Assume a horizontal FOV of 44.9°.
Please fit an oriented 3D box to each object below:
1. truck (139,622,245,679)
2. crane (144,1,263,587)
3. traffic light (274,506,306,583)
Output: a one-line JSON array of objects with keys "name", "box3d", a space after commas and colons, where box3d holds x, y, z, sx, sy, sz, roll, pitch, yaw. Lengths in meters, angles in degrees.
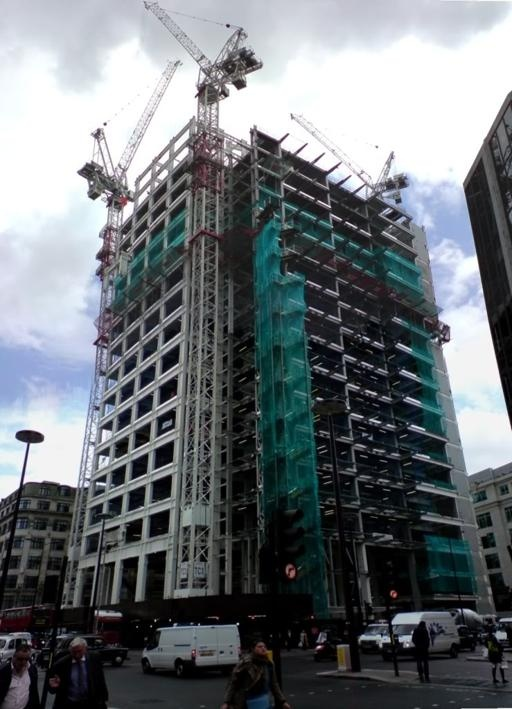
[{"name": "truck", "box3d": [-3.280, 12.702, 27.041, 4.869, 1.843, 2.729, -29, -45, 36]}, {"name": "crane", "box3d": [-2.502, -3.521, 64.968, 2.143, 90.775, 8.863, 16, -24, -30]}, {"name": "traffic light", "box3d": [0.584, 3.269, 10.780, 0.506, 1.279, 0.943, -4, -26, 3]}]
